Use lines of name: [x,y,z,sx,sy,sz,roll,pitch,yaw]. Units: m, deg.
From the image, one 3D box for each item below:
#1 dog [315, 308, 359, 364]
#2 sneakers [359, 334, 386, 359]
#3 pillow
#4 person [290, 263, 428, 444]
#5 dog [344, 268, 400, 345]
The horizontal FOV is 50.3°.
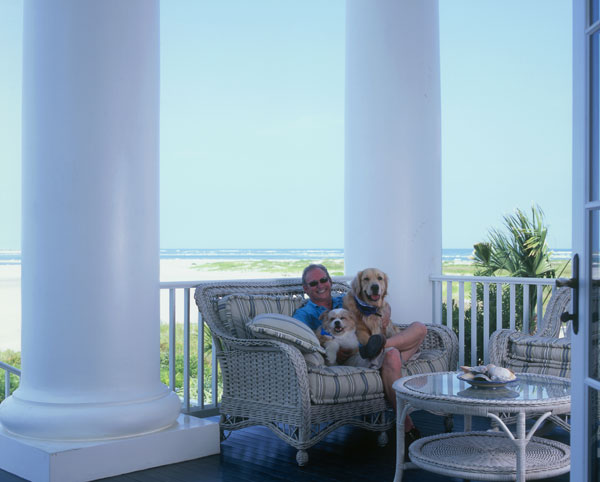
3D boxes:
dog: [0.245,0.577,3.965,0.212,0.346,0.149,-1,-16,-3]
sneakers: [0.430,0.622,3.752,0.106,0.152,0.056,29,-22,29]
pillow: [-0.077,0.599,3.618,0.335,0.108,0.324,21,17,-44]
person: [0.345,0.643,4.161,0.684,0.579,1.046,1,13,-29]
dog: [0.478,0.446,4.427,0.376,0.487,1.004,-2,-5,3]
